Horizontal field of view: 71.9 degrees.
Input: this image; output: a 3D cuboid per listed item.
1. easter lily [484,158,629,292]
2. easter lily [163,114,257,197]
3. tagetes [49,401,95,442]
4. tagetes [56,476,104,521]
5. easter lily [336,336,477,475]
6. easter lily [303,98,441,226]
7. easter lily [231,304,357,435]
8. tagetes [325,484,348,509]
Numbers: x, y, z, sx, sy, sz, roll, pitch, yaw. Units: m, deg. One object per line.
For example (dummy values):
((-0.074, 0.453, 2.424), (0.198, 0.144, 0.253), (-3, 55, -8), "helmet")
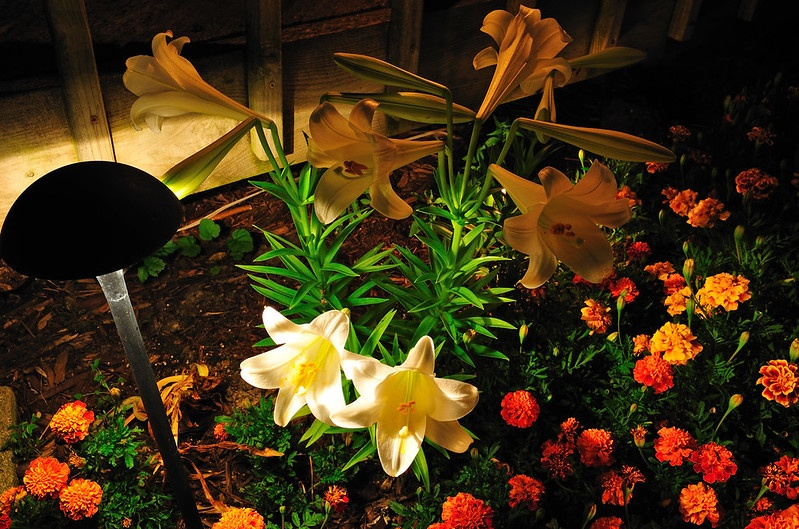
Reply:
((0.609, -0.142, 2.076), (0.502, 0.522, 0.272), (-5, 31, 0), "easter lily")
((-0.776, -0.367, 2.114), (0.632, 0.155, 0.085), (-23, 49, 41), "easter lily")
((-1.622, 0.800, 2.731), (0.154, 0.086, 0.160), (25, 13, 17), "tagetes")
((-1.478, 1.092, 2.566), (0.194, 0.189, 0.101), (0, -10, -9), "tagetes")
((-0.030, 0.514, 2.218), (0.611, 0.232, 0.514), (14, 75, 38), "easter lily")
((-0.275, -0.387, 2.163), (0.558, 0.426, 0.230), (0, 68, 47), "easter lily")
((-0.400, 0.438, 2.310), (0.484, 0.222, 0.506), (37, 50, 4), "easter lily")
((-0.299, 1.127, 2.666), (0.113, 0.111, 0.057), (-10, -4, -14), "tagetes")
